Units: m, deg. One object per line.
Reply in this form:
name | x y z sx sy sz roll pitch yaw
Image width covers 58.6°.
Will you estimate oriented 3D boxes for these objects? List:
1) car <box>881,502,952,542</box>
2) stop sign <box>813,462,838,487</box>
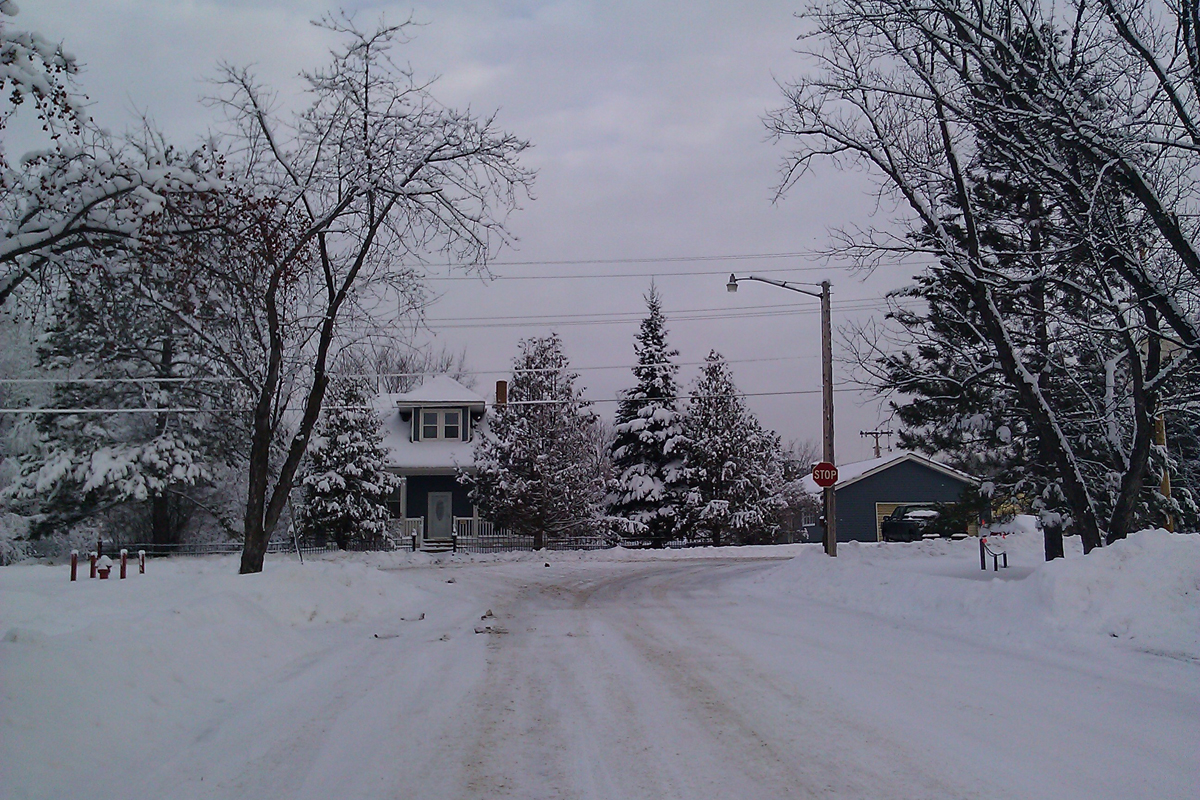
car | 13.072 5.245 44.624 1.742 1.763 5.660 0 4 6
stop sign | 6.258 2.119 29.971 0.590 0.890 1.635 1 4 11
